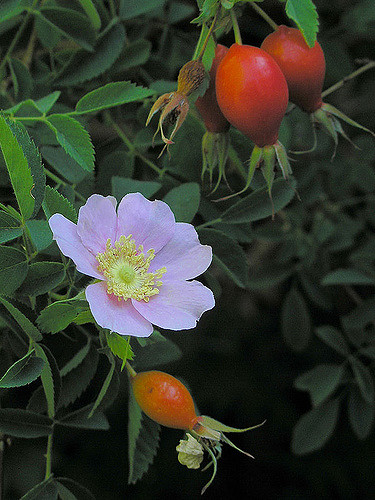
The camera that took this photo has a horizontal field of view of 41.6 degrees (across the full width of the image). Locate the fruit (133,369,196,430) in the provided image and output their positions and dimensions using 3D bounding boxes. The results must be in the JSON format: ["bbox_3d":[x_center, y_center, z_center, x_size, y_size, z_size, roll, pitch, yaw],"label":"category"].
[{"bbox_3d":[-0.023,0.141,0.469,0.045,0.039,0.073,-16,54,-17],"label":"fruit"}]

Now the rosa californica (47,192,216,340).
[{"bbox_3d":[-0.040,0.005,0.430,0.129,0.074,0.140,-20,56,-20],"label":"rosa californica"}]
